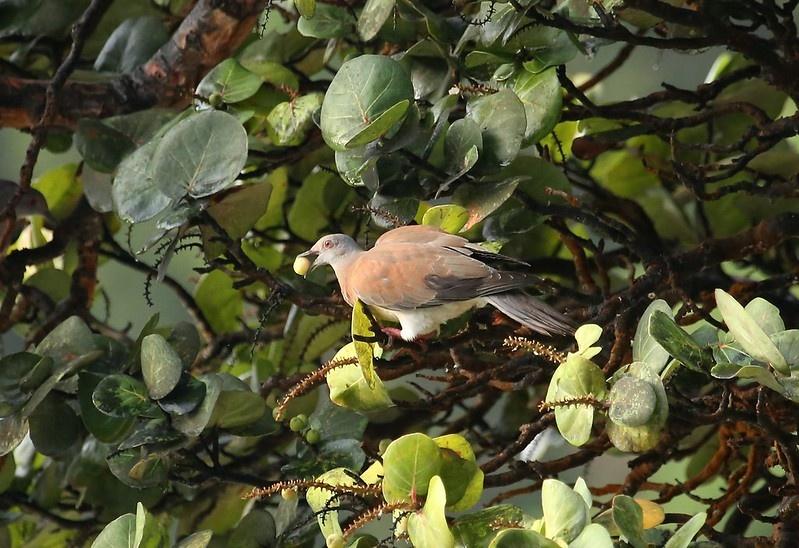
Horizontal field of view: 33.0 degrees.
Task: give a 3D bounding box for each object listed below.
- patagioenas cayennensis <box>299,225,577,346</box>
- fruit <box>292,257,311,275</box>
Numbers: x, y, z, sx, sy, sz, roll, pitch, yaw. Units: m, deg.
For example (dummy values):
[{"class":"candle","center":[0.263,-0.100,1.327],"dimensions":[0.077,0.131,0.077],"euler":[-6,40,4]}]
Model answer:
[{"class":"patagioenas cayennensis","center":[0.061,0.015,2.465],"dimensions":[0.493,0.227,0.195],"euler":[-5,9,14]},{"class":"fruit","center":[-0.181,-0.017,2.534],"dimensions":[0.033,0.037,0.033],"euler":[0,0,0]}]
